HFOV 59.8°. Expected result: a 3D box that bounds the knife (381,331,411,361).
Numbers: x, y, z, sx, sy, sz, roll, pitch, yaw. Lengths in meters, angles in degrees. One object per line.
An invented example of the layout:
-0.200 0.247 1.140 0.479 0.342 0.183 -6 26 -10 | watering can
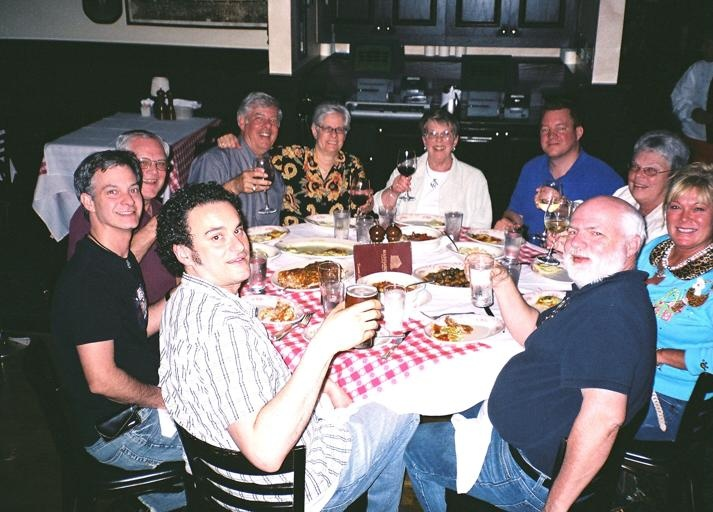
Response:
0.163 0.356 2.495 0.040 0.018 0.248 25 22 19 | knife

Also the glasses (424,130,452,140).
0.530 -0.792 4.044 0.160 0.050 0.043 2 16 15 | glasses

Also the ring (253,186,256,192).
-0.561 -0.379 3.424 0.013 0.022 0.023 12 -20 20 | ring

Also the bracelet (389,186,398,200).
0.233 -0.399 3.900 0.051 0.050 0.050 3 38 6 | bracelet

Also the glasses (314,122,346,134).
-0.173 -0.851 4.106 0.226 0.099 0.145 -3 15 -5 | glasses

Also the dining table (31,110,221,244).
-2.123 -0.729 5.729 1.137 0.511 1.825 2 32 2 | dining table

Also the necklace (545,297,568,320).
0.805 0.206 2.494 0.048 0.052 0.160 22 27 22 | necklace

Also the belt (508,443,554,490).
0.672 0.819 2.412 0.040 0.105 0.141 -3 30 -46 | belt
